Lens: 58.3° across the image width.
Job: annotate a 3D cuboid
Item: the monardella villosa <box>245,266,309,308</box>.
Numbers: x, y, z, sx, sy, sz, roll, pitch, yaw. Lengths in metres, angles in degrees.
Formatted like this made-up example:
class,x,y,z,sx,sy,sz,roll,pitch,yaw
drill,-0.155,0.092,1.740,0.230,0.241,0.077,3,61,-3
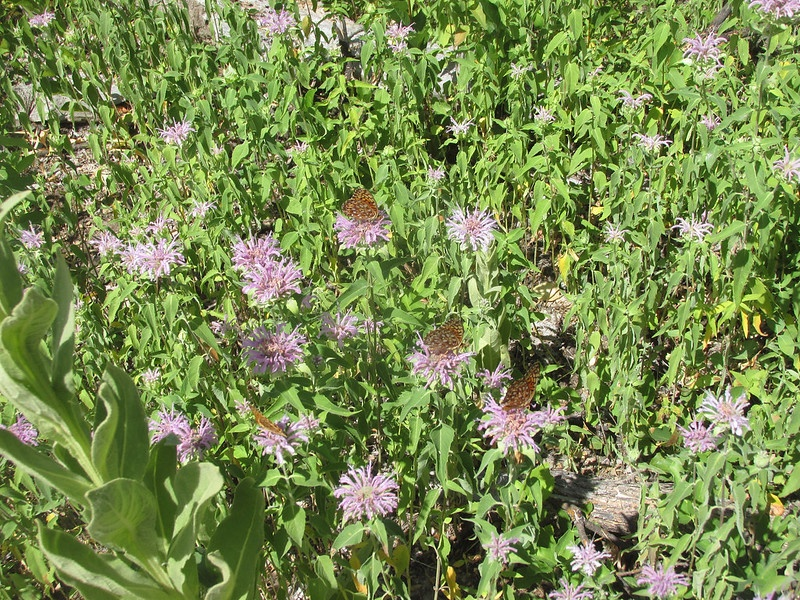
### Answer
class,x,y,z,sx,sy,sz,roll,pitch,yaw
monardella villosa,-0.521,-0.085,2.931,0.159,0.073,0.184,-9,41,-10

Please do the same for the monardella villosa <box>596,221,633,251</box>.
class,x,y,z,sx,sy,sz,roll,pitch,yaw
monardella villosa,1.161,-0.345,3.848,0.142,0.059,0.176,-14,61,18

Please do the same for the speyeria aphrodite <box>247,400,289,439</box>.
class,x,y,z,sx,sy,sz,roll,pitch,yaw
speyeria aphrodite,-0.517,0.487,2.801,0.217,0.090,0.084,42,87,6

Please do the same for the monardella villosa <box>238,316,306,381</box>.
class,x,y,z,sx,sy,sz,roll,pitch,yaw
monardella villosa,-0.519,0.216,2.993,0.208,0.087,0.221,-34,68,-5

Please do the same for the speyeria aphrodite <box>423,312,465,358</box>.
class,x,y,z,sx,sy,sz,roll,pitch,yaw
speyeria aphrodite,0.171,0.143,2.829,0.153,0.238,0.138,1,34,2

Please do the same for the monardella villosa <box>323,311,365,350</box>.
class,x,y,z,sx,sy,sz,roll,pitch,yaw
monardella villosa,-0.262,0.104,3.230,0.189,0.164,0.208,-5,36,-7

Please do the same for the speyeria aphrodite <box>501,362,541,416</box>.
class,x,y,z,sx,sy,sz,roll,pitch,yaw
speyeria aphrodite,0.450,0.334,2.730,0.206,0.129,0.289,-10,3,18
